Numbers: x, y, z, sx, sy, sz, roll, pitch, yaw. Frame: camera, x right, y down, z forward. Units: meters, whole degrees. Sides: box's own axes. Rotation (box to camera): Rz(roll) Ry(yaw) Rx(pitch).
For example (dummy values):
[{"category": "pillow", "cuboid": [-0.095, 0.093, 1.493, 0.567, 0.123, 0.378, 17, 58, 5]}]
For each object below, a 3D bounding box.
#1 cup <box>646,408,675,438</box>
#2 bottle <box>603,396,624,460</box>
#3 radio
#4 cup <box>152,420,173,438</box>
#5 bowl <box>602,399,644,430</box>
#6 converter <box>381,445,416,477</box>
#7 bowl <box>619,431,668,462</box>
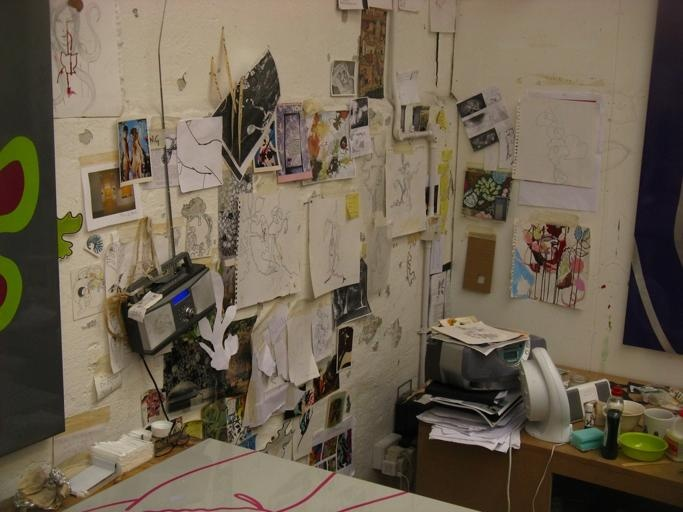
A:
[{"category": "cup", "cuboid": [1.242, 0.643, 2.120, 0.075, 0.086, 0.101, 0, 3, 11]}, {"category": "bottle", "cuboid": [1.030, 0.644, 2.069, 0.058, 0.199, 0.171, 4, 10, 28]}, {"category": "radio", "cuboid": [-0.515, 0.135, 1.650, 0.131, 0.212, 0.300, 5, 25, 26]}, {"category": "cup", "cuboid": [-0.547, 0.520, 1.650, 0.043, 0.024, 0.046, 0, 3, 0]}, {"category": "bowl", "cuboid": [1.156, 0.634, 2.195, 0.121, 0.087, 0.131, -1, 3, 0]}, {"category": "converter", "cuboid": [0.277, 0.991, 2.676, 0.107, 0.160, 0.155, 0, -4, 36]}, {"category": "bowl", "cuboid": [1.133, 0.717, 2.052, 0.160, 0.059, 0.135, -2, 10, -13]}]
